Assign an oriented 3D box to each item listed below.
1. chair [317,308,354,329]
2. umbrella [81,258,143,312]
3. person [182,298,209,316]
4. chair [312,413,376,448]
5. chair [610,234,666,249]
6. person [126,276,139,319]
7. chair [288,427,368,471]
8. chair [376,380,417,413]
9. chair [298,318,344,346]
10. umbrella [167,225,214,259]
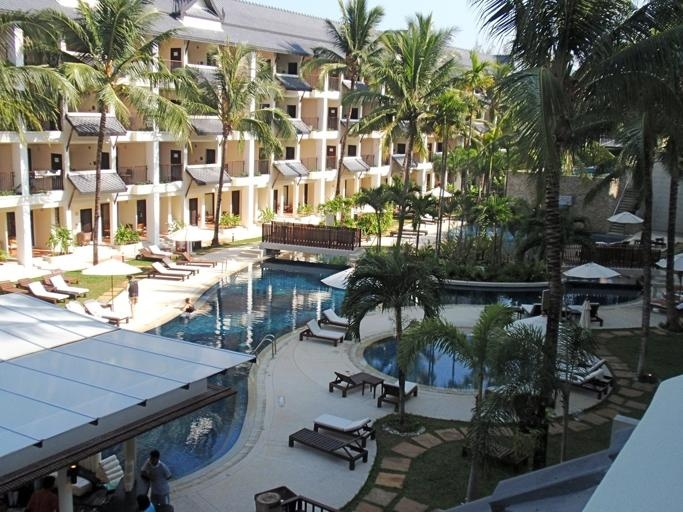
[{"bbox_3d":[-0.341,2.499,23.600,1.139,0.543,0.672,9,16,15],"label":"chair"},{"bbox_3d":[-9.785,1.617,25.076,2.616,2.540,2.712,0,2,-15],"label":"umbrella"},{"bbox_3d":[-6.417,2.176,26.007,1.061,0.723,1.997,0,1,3],"label":"person"},{"bbox_3d":[0.040,4.347,15.222,1.251,0.549,0.708,12,8,21],"label":"chair"},{"bbox_3d":[18.602,-0.859,36.563,1.847,0.940,2.700,-1,2,23],"label":"chair"},{"bbox_3d":[-8.606,1.672,24.437,0.319,1.605,1.318,-1,2,-20],"label":"person"},{"bbox_3d":[-0.315,4.607,14.660,1.848,0.694,0.759,15,16,31],"label":"chair"},{"bbox_3d":[1.663,4.031,17.740,0.611,0.589,1.227,3,13,29],"label":"chair"},{"bbox_3d":[-0.732,2.868,22.323,1.396,0.680,0.827,11,23,17],"label":"chair"},{"bbox_3d":[-8.283,-1.115,32.636,2.477,1.997,2.457,1,8,3],"label":"umbrella"}]
